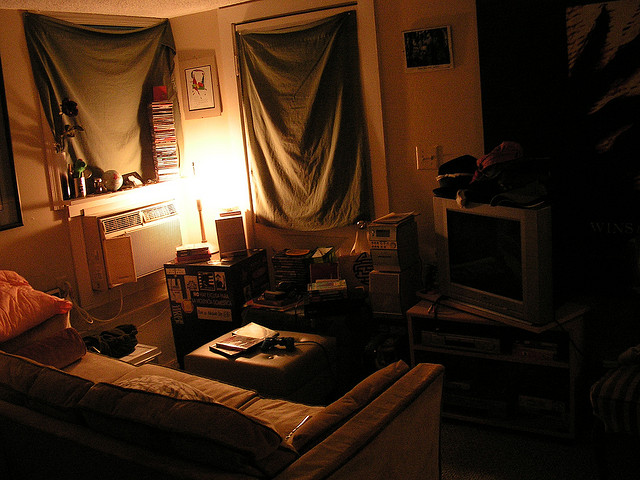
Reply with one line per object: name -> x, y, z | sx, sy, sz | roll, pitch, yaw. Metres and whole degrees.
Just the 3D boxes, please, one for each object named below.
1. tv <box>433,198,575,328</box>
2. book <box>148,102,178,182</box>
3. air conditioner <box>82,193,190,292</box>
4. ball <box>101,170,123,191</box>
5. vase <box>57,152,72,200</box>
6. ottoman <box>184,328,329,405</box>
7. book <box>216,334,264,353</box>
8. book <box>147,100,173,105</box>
tv -> 1.073, 0.121, 2.988 | 0.390, 0.577, 0.713 | -15, 15, -38
book -> -1.351, -0.830, 4.377 | 0.165, 0.470, 0.509 | -8, 45, -10
air conditioner -> -1.471, 0.025, 4.026 | 0.268, 0.485, 0.761 | 3, 13, 27
ball -> -1.610, -0.462, 3.966 | 0.145, 0.154, 0.084 | -9, 11, -21
vase -> -1.857, -0.473, 3.749 | 0.038, 0.333, 0.094 | 1, 12, 29
ottoman -> -0.268, 0.767, 3.242 | 0.650, 0.316, 0.458 | 6, 12, 27
book -> -0.519, 0.660, 3.330 | 0.147, 0.034, 0.143 | 6, 9, 22
book -> -1.343, -1.156, 4.318 | 0.090, 0.020, 0.090 | 0, 4, 22
